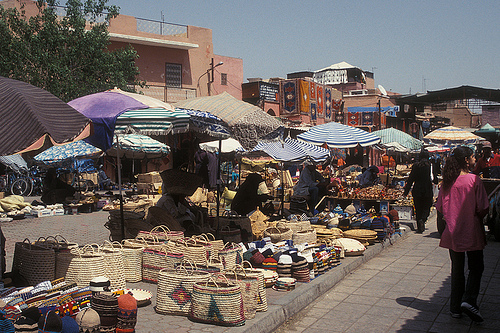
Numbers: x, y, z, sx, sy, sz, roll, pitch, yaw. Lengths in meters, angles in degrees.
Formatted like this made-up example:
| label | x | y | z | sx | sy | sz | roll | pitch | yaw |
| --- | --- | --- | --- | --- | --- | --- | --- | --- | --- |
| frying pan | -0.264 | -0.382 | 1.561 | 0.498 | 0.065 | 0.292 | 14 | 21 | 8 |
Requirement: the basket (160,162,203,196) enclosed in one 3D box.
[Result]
| label | x | y | z | sx | sy | sz | roll | pitch | yaw |
| --- | --- | --- | --- | --- | --- | --- | --- | --- | --- |
| basket | -1.412 | 0.264 | 11.008 | 0.616 | 0.266 | 0.627 | -8 | -23 | 37 |

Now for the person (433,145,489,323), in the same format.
| label | x | y | z | sx | sy | sz | roll | pitch | yaw |
| --- | --- | --- | --- | --- | --- | --- | --- | --- | --- |
| person | 3.382 | 1.057 | 8.976 | 0.735 | 2.732 | 0.519 | 2 | 5 | 43 |

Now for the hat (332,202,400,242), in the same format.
| label | x | y | z | sx | sy | sz | roll | pitch | yaw |
| --- | --- | --- | --- | --- | --- | --- | --- | --- | --- |
| hat | 2.606 | 1.362 | 13.165 | 1.071 | 0.416 | 1.033 | 4 | 0 | 21 |

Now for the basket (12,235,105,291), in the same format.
| label | x | y | z | sx | sy | sz | roll | pitch | yaw |
| --- | --- | --- | --- | --- | --- | --- | --- | --- | --- |
| basket | -3.093 | 1.562 | 9.164 | 1.393 | 0.800 | 0.787 | 3 | -3 | -5 |

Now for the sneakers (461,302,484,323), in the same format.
| label | x | y | z | sx | sy | sz | roll | pitch | yaw |
| --- | --- | --- | --- | --- | --- | --- | --- | --- | --- |
| sneakers | 3.465 | 2.315 | 8.815 | 0.314 | 0.113 | 0.134 | 38 | 47 | 8 |

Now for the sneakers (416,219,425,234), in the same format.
| label | x | y | z | sx | sy | sz | roll | pitch | yaw |
| --- | --- | --- | --- | --- | --- | --- | --- | --- | --- |
| sneakers | 4.383 | 1.550 | 14.468 | 0.152 | 0.450 | 0.191 | -3 | 9 | 4 |
